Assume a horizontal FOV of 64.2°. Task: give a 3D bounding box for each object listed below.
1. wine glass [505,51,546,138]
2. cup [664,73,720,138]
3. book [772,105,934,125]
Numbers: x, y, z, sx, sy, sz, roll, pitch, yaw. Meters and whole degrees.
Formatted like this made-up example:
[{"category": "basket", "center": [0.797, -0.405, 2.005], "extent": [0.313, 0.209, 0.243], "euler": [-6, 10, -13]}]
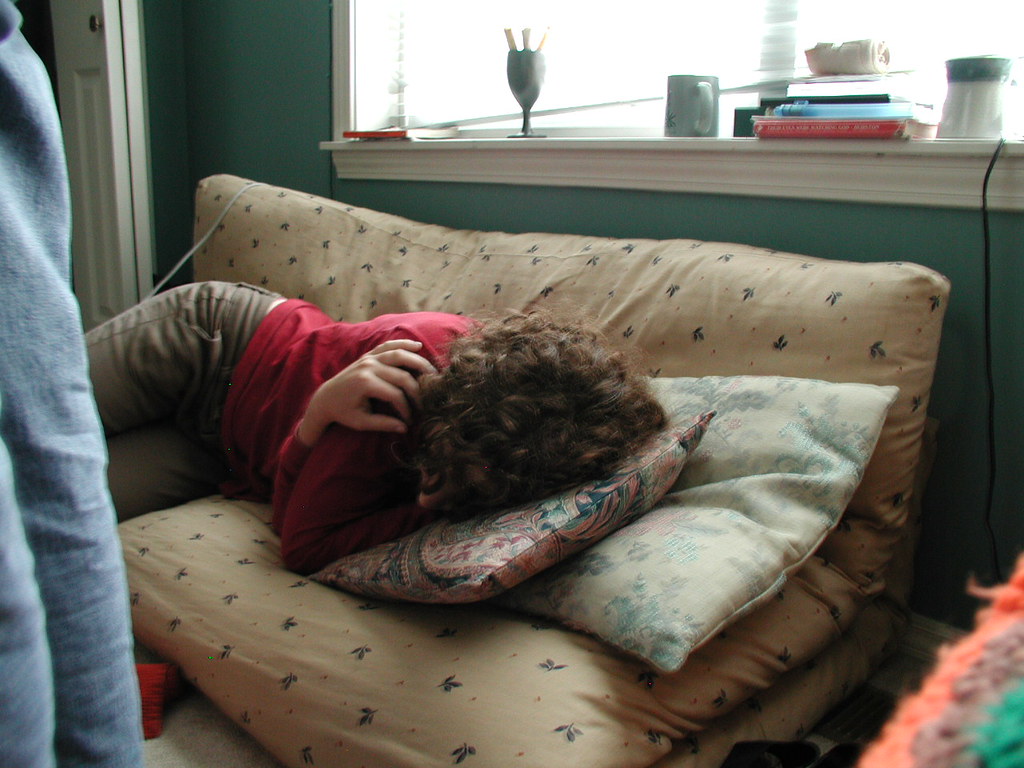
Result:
[{"category": "wine glass", "center": [0.051, -0.776, 2.203], "extent": [0.095, 0.217, 0.163], "euler": [6, 16, 18]}, {"category": "cup", "center": [0.397, -0.620, 1.822], "extent": [0.097, 0.167, 0.153], "euler": [-3, 14, -15]}, {"category": "book", "center": [0.640, -0.511, 1.542], "extent": [0.286, 0.038, 0.103], "euler": [6, 15, 18]}]
